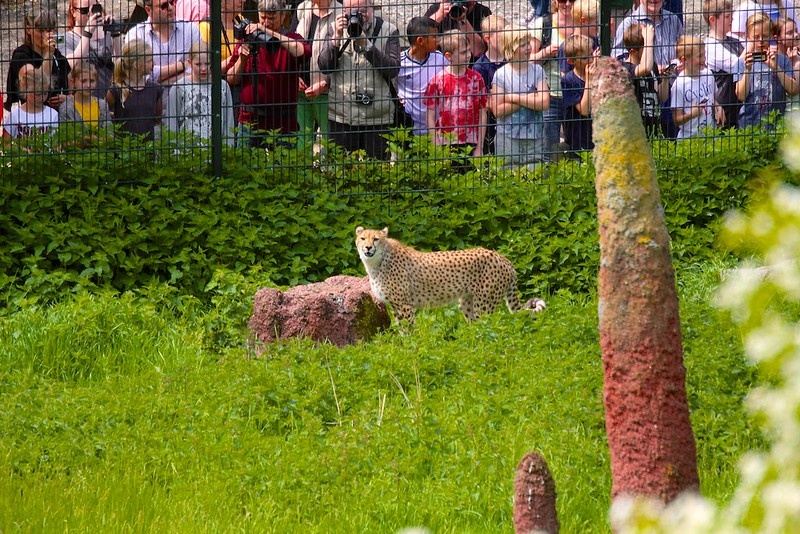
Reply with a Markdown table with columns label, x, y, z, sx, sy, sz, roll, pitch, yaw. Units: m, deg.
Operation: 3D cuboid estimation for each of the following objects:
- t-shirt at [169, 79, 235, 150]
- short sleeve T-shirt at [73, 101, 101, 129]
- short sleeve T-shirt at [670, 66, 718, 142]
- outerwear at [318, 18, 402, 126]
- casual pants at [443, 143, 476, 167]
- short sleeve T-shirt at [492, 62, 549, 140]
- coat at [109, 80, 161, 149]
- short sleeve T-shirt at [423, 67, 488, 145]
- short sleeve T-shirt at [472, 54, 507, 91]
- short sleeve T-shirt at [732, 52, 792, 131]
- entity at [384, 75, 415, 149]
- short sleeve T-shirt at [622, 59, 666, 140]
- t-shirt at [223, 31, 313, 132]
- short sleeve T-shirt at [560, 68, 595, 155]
| label | x | y | z | sx | sy | sz | roll | pitch | yaw |
| --- | --- | --- | --- | --- | --- | --- | --- | --- | --- |
| t-shirt | -2.384 | -1.828 | 21.477 | 0.711 | 0.935 | 0.435 | 1 | -5 | -13 |
| short sleeve T-shirt | -3.817 | -1.838 | 21.630 | 0.220 | 0.354 | 0.323 | -5 | 7 | 4 |
| short sleeve T-shirt | 3.651 | -2.013 | 22.068 | 0.768 | 1.071 | 0.379 | -5 | 5 | -27 |
| outerwear | -0.506 | -2.405 | 21.969 | 0.913 | 1.470 | 0.736 | 5 | 7 | 8 |
| casual pants | 0.760 | -1.311 | 21.338 | 0.275 | 0.134 | 0.285 | -11 | 33 | -41 |
| short sleeve T-shirt | 1.492 | -2.028 | 21.779 | 0.662 | 0.952 | 0.475 | -4 | 26 | -7 |
| coat | -3.210 | -1.882 | 21.692 | 0.652 | 0.580 | 1.023 | -2 | 29 | -9 |
| short sleeve T-shirt | 0.698 | -1.942 | 21.755 | 0.836 | 1.015 | 0.325 | 0 | -2 | -15 |
| short sleeve T-shirt | 1.131 | -2.412 | 22.120 | 0.431 | 0.420 | 0.166 | -2 | 7 | -7 |
| short sleeve T-shirt | 4.552 | -2.168 | 22.085 | 0.681 | 1.198 | 0.245 | 7 | -9 | -45 |
| entity | -0.079 | -1.989 | 22.226 | 0.163 | 0.491 | 0.850 | -16 | 3 | -15 |
| short sleeve T-shirt | 3.008 | -2.081 | 21.758 | 0.533 | 0.875 | 1.135 | 7 | 28 | 8 |
| t-shirt | -1.660 | -2.281 | 21.938 | 0.855 | 1.305 | 0.703 | -2 | -7 | -3 |
| short sleeve T-shirt | 2.163 | -1.932 | 21.575 | 0.405 | 0.925 | 1.068 | 4 | 28 | 4 |
